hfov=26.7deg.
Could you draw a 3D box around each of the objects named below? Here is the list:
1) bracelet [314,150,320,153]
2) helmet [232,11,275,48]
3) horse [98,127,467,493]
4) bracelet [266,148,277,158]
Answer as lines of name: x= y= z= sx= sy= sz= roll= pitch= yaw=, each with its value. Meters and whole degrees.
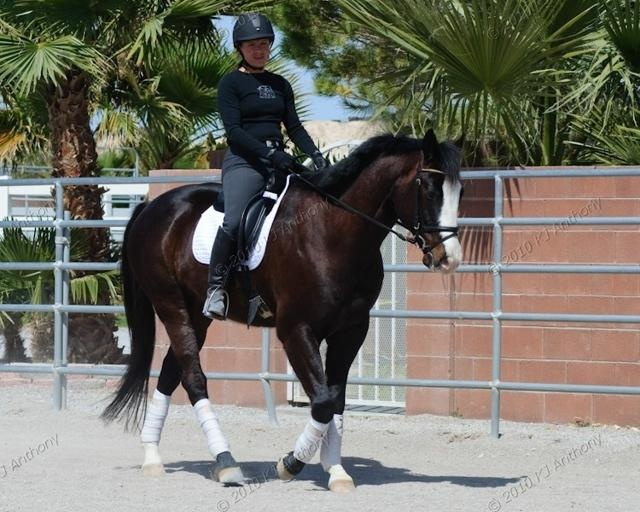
bracelet: x=-0.023 y=-0.923 z=11.775 sx=0.035 sy=0.034 sz=0.033 roll=0 pitch=-6 yaw=3
helmet: x=-0.567 y=-1.982 z=11.744 sx=0.339 sy=0.301 sz=0.232 roll=0 pitch=9 yaw=-3
horse: x=-0.503 y=0.572 z=12.175 sx=4.569 sy=3.080 sz=1.237 roll=-3 pitch=-4 yaw=44
bracelet: x=-0.401 y=-0.892 z=11.531 sx=0.027 sy=0.072 sz=0.075 roll=9 pitch=42 yaw=-25
